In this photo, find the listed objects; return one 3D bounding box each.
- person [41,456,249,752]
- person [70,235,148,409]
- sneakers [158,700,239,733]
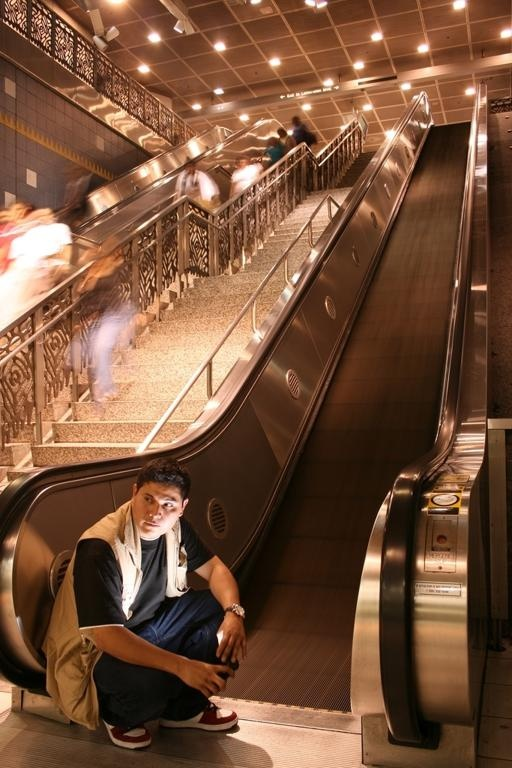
[{"bbox_3d":[-0.287,0.553,1.579,0.649,0.923,0.599,-1,3,24],"label":"person"},{"bbox_3d":[-1.465,-0.698,5.043,0.390,1.371,1.417,-6,13,7],"label":"person"},{"bbox_3d":[-0.159,0.881,1.346,0.186,0.091,0.079,-4,-9,-1],"label":"sneakers"}]
